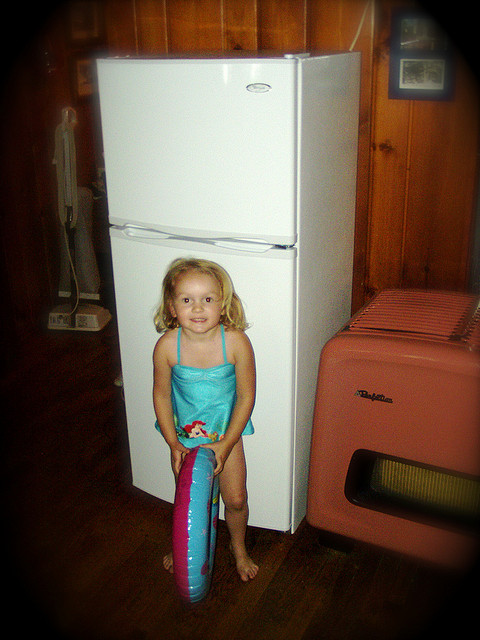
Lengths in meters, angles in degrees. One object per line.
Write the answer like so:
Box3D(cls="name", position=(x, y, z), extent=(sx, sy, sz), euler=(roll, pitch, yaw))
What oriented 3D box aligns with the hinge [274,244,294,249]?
Box3D(cls="hinge", position=(0.094, -0.161, 1.131), extent=(0.041, 0.009, 0.012), euler=(1, 22, 7))
